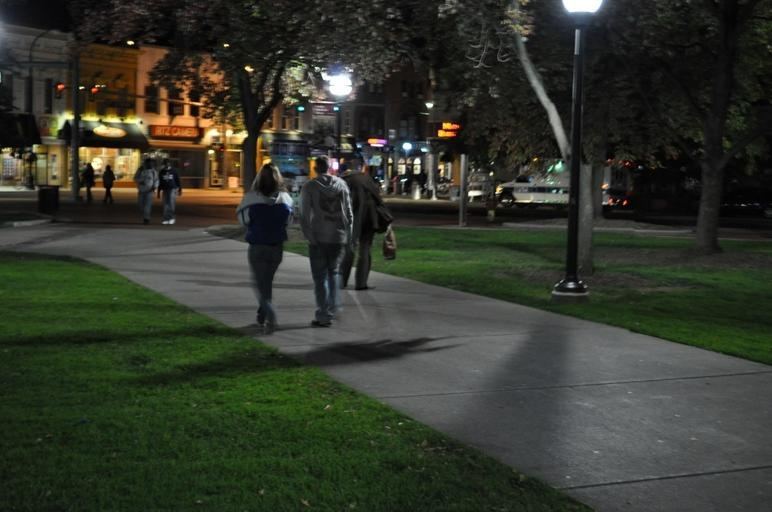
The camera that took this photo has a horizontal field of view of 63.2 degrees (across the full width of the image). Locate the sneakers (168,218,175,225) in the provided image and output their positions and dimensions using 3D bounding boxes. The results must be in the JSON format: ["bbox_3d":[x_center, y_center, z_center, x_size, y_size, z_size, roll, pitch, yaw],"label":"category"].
[{"bbox_3d":[-8.272,-1.304,24.124,0.147,0.143,0.400,-1,0,-12],"label":"sneakers"}]

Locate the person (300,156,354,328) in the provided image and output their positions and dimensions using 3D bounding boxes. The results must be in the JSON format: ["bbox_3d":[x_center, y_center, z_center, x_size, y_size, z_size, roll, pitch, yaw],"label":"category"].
[{"bbox_3d":[-0.877,-0.201,9.021,0.746,2.402,0.475,0,9,-9],"label":"person"}]

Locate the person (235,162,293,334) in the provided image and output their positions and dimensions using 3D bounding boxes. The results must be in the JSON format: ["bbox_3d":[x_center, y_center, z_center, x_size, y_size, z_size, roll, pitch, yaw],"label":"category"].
[{"bbox_3d":[-1.665,-0.108,8.566,0.706,2.287,0.504,0,9,-12],"label":"person"}]

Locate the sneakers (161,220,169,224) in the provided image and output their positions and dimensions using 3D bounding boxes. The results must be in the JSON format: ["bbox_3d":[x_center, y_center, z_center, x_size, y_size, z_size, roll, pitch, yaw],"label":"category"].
[{"bbox_3d":[-8.530,-1.293,24.116,0.154,0.134,0.345,-3,-1,-32],"label":"sneakers"}]
